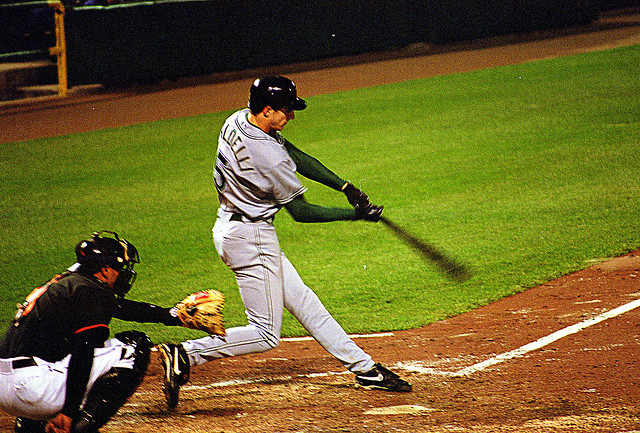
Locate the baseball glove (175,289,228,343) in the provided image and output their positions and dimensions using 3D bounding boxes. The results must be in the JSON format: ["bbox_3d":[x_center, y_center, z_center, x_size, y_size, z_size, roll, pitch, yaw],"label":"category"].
[{"bbox_3d":[-1.155,0.868,8.095,0.500,0.658,0.214,0,40,-1],"label":"baseball glove"}]

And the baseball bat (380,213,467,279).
[{"bbox_3d":[1.204,0.375,9.856,0.153,1.274,0.064,-60,11,-26],"label":"baseball bat"}]
